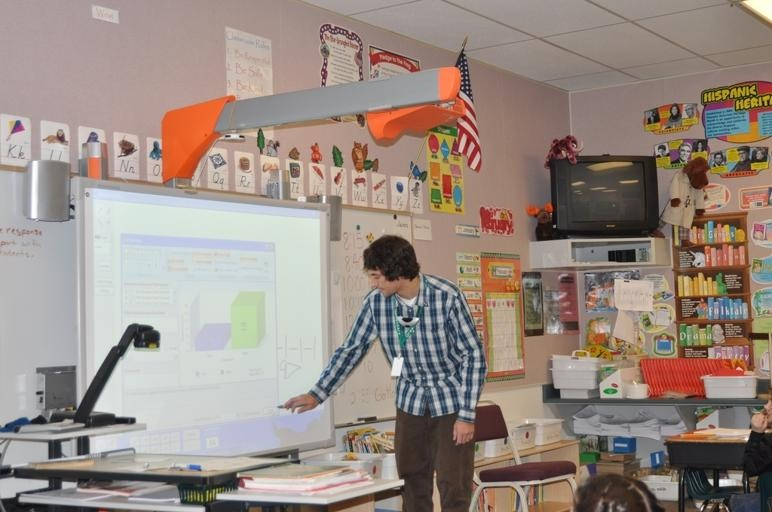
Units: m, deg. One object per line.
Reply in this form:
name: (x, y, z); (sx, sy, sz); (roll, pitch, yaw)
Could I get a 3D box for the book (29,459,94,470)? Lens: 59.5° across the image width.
book: (-1.350, 0.868, 2.848); (0.097, 0.022, 0.094); (-1, -5, 7)

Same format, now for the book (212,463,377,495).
book: (-0.315, 0.868, 2.642); (0.522, 0.074, 0.149); (0, -2, -5)

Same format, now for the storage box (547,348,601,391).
storage box: (1.785, 1.053, 6.332); (0.342, 0.204, 0.346); (-1, -3, 21)

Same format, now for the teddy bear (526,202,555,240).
teddy bear: (1.534, -0.343, 6.660); (0.357, 0.398, 0.229); (-2, -7, 10)

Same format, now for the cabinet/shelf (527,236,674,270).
cabinet/shelf: (2.098, -0.032, 6.571); (1.365, 0.305, 0.422); (0, -2, 12)

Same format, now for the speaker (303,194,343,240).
speaker: (-0.423, -0.269, 4.639); (0.289, 0.315, 0.281); (-2, 3, -23)

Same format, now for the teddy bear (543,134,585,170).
teddy bear: (1.744, -1.051, 6.560); (0.331, 0.288, 0.138); (-5, 32, -46)

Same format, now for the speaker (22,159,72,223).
speaker: (-1.775, -0.346, 3.531); (0.202, 0.301, 0.074); (1, -2, -25)

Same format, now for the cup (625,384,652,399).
cup: (2.289, 1.207, 6.116); (0.168, 0.097, 0.125); (1, -3, 9)
